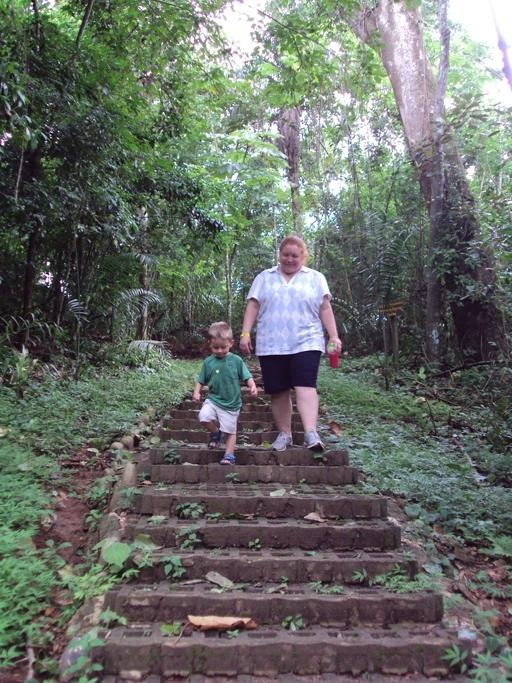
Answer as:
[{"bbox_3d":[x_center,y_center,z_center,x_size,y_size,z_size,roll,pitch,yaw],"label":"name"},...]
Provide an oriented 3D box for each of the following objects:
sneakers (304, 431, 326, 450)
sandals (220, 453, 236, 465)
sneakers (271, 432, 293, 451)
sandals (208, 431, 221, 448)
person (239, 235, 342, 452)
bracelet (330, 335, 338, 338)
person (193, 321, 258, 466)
[{"bbox_3d":[0.378,0.658,3.189,0.141,0.132,0.139,-2,-6,21],"label":"sneakers"},{"bbox_3d":[-0.175,0.758,3.099,0.086,0.064,0.102,1,-6,-7],"label":"sandals"},{"bbox_3d":[0.183,0.697,3.329,0.067,0.080,0.185,-1,-3,22],"label":"sneakers"},{"bbox_3d":[-0.280,0.679,3.377,0.071,0.166,0.074,2,-6,34],"label":"sandals"},{"bbox_3d":[0.251,0.008,3.358,0.678,1.475,0.356,-1,-6,10],"label":"person"},{"bbox_3d":[0.543,-0.037,3.294,0.035,0.012,0.037,4,8,34],"label":"bracelet"},{"bbox_3d":[-0.209,0.335,3.315,0.382,0.957,0.429,3,-6,-27],"label":"person"}]
